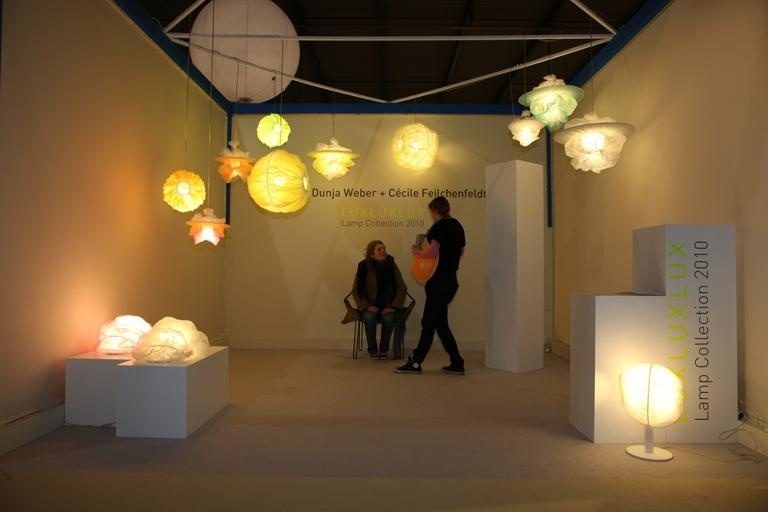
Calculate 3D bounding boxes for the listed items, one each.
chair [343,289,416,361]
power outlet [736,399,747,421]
[{"bbox_3d":[-0.049,1.033,8.878,1.024,1.229,0.868,0,-25,0],"label":"chair"},{"bbox_3d":[3.368,1.472,5.764,0.106,0.155,0.045,-4,-17,16],"label":"power outlet"}]
